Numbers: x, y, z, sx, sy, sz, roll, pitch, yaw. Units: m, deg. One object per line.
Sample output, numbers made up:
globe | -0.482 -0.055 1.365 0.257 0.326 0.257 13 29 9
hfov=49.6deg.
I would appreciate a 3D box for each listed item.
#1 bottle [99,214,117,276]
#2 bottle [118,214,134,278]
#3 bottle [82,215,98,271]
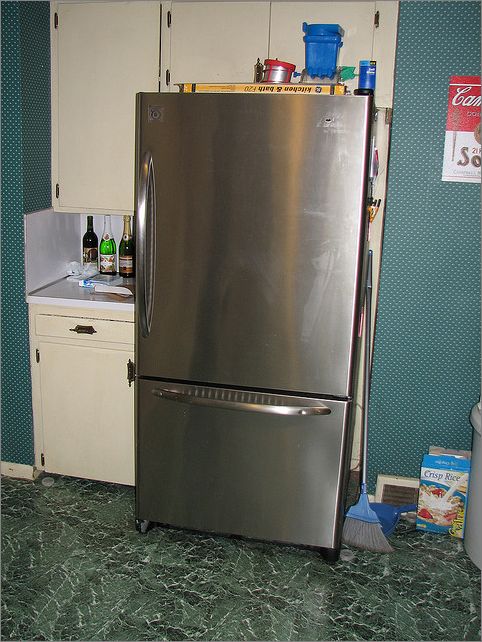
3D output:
bottle | -0.658 -0.379 2.547 0.066 0.283 0.126 -5 12 -36
bottle | -0.557 -0.369 2.520 0.071 0.291 0.116 -1 10 -17
bottle | -0.735 -0.398 2.530 0.065 0.238 0.106 -2 10 -20
